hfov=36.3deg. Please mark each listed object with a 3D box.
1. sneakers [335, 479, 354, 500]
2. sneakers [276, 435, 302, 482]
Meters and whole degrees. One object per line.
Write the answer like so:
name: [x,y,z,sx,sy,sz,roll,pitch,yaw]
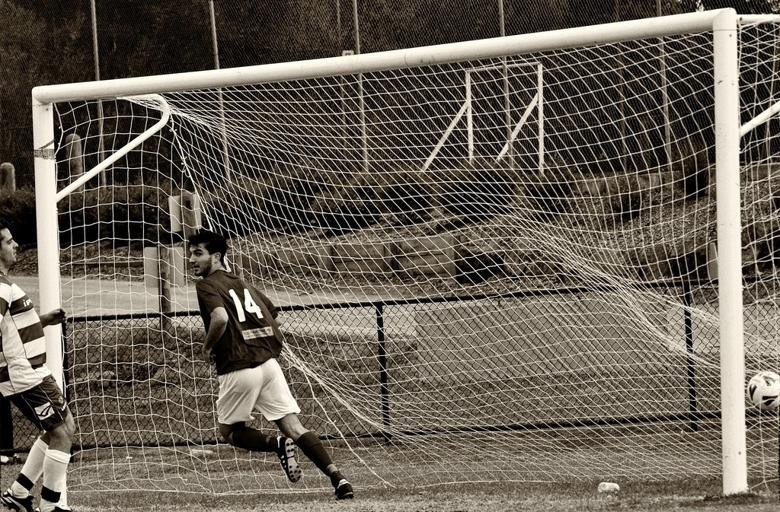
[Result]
sneakers: [-0.607,3.091,15.645,0.226,0.332,0.220,-5,6,-6]
sneakers: [-1.359,2.692,15.744,0.235,0.682,0.271,-18,0,-24]
